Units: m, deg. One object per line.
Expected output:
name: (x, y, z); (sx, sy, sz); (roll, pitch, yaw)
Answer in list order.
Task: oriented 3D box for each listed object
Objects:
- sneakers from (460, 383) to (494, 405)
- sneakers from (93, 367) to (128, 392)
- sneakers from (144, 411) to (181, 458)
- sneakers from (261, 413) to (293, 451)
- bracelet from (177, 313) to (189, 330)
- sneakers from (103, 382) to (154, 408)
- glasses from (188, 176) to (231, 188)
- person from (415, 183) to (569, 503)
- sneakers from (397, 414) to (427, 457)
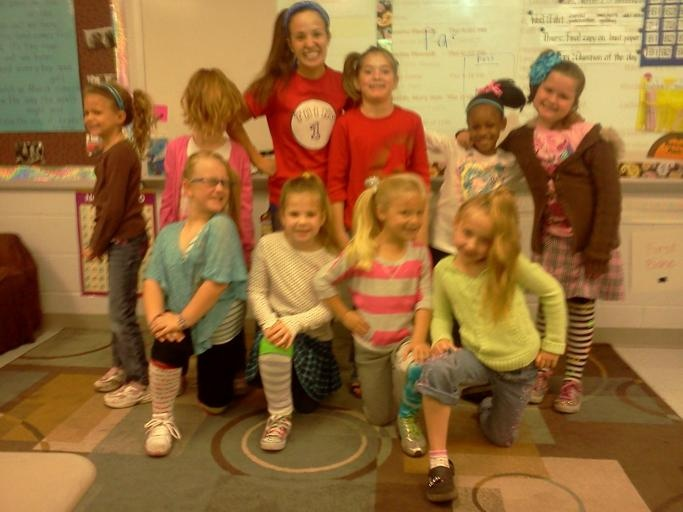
sneakers: (0.612, 0.626, 2.482); (0.113, 0.039, 0.152); (-8, -4, 6)
sneakers: (-1.080, 0.578, 2.580); (0.084, 0.061, 0.139); (0, 23, 20)
sneakers: (-0.701, 0.697, 2.135); (0.093, 0.069, 0.182); (-1, 2, -13)
sneakers: (-0.256, 0.700, 2.145); (0.065, 0.071, 0.186); (0, -2, 5)
bracelet: (-0.626, 0.261, 2.154); (0.013, 0.046, 0.050); (-5, -21, -31)
sneakers: (-0.952, 0.614, 2.453); (0.196, 0.078, 0.104); (1, 4, -20)
glasses: (-0.532, -0.302, 2.240); (0.165, 0.048, 0.072); (-6, 16, -17)
person: (0.487, 0.275, 2.050); (0.706, 1.027, 0.415); (-13, 19, -32)
sneakers: (0.282, 0.703, 2.133); (0.070, 0.070, 0.185); (-1, 3, -12)
